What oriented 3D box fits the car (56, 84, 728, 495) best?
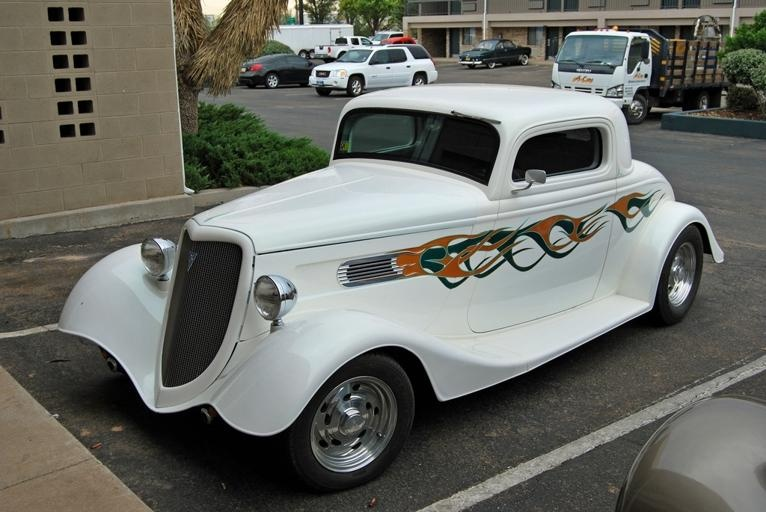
[{"bbox_3d":[0.578,-0.042,5.232,5.518,2.257,3.215,-13,19,-35],"label":"car"}]
